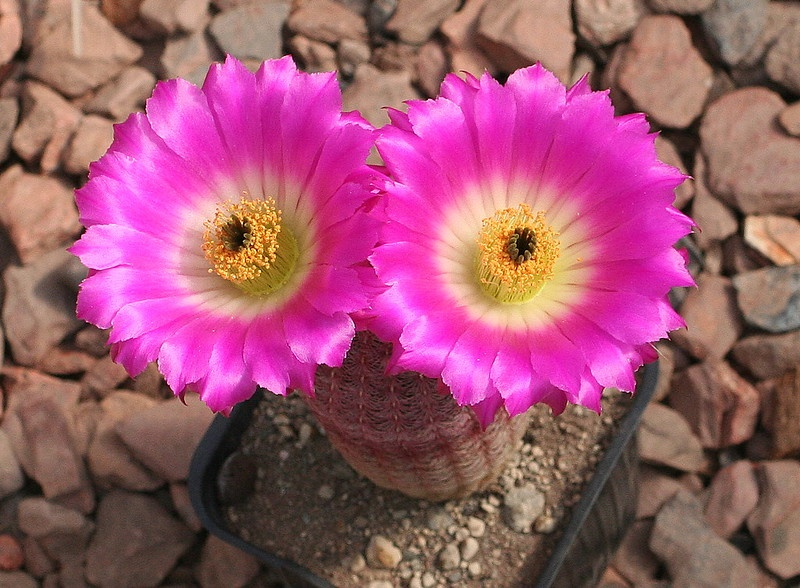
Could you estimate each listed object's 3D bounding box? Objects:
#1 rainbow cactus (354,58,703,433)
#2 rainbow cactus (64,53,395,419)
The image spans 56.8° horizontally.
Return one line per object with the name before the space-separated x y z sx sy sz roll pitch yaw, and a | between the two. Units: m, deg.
rainbow cactus | 0.236 -0.106 1.329 0.559 0.211 0.640 4 85 5
rainbow cactus | -0.313 -0.110 1.336 0.561 0.156 0.637 -4 84 5
